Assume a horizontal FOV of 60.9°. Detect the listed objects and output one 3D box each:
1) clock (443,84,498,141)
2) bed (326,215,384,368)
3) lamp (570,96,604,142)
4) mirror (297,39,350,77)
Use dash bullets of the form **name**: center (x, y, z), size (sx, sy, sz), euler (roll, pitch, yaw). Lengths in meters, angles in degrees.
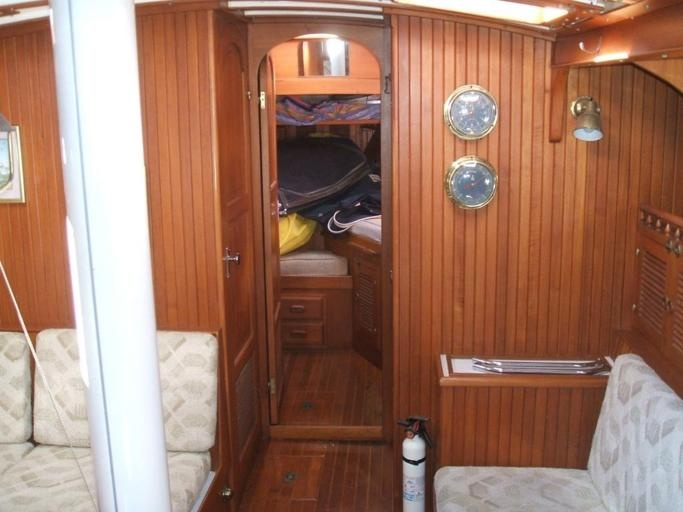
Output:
- **clock**: center (0.677, -0.759, 3.063), size (0.263, 0.268, 0.055), euler (-1, 11, -2)
- **bed**: center (0.153, 0.289, 5.034), size (0.267, 1.159, 0.878), euler (-4, 12, -18)
- **lamp**: center (1.212, -0.706, 2.878), size (0.135, 0.246, 0.111), euler (7, -22, 18)
- **mirror**: center (-0.151, -1.799, 5.302), size (0.504, 0.475, 0.283), euler (-1, 36, 2)
